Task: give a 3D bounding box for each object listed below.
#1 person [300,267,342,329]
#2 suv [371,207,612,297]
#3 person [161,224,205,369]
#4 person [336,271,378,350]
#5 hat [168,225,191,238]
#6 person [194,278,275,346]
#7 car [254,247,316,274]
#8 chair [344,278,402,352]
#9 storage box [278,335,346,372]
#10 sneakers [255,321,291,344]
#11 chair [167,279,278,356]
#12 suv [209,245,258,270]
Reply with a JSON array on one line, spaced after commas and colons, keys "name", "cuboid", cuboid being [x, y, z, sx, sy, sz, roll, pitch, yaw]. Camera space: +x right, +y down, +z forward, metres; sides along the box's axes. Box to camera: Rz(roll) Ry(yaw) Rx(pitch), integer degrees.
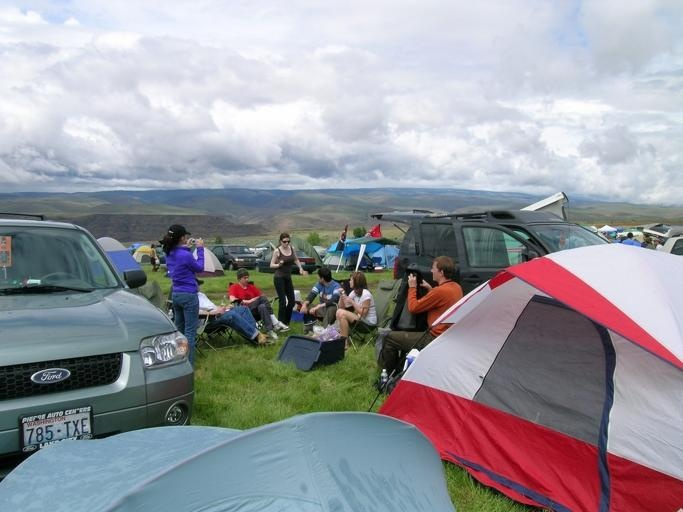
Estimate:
[{"name": "person", "cuboid": [-0.368, 0.859, 8.334, 0.746, 1.237, 1.281, -4, 11, -23]}, {"name": "suv", "cuboid": [2.468, -0.044, 7.497, 3.055, 1.501, 1.789, -4, 1, 23]}, {"name": "person", "cuboid": [-2.244, 0.608, 6.187, 0.737, 2.043, 0.655, -3, -2, -32]}, {"name": "person", "cuboid": [0.281, 0.948, 7.666, 0.705, 1.284, 0.775, 0, 11, 1]}, {"name": "hat", "cuboid": [-2.241, -0.339, 5.951, 0.221, 0.141, 0.291, 5, 14, 17]}, {"name": "person", "cuboid": [-1.880, 1.154, 7.758, 1.825, 1.076, 0.762, 4, 4, 13]}, {"name": "car", "cuboid": [-3.091, 0.370, 23.210, 1.902, 1.075, 2.722, -3, 5, -40]}, {"name": "chair", "cuboid": [0.538, 1.075, 8.180, 1.273, 1.064, 0.792, -13, 11, -25]}, {"name": "storage box", "cuboid": [-0.420, 1.487, 6.766, 0.770, 0.373, 0.908, 4, 1, 32]}, {"name": "sneakers", "cuboid": [-1.274, 1.485, 7.763, 0.625, 0.237, 0.207, -3, -3, 32]}, {"name": "chair", "cuboid": [-2.031, 1.089, 7.694, 1.474, 0.847, 1.408, -2, -3, 3]}, {"name": "suv", "cuboid": [-6.632, 0.056, 26.432, 1.815, 1.303, 3.592, -1, 2, -40]}]
